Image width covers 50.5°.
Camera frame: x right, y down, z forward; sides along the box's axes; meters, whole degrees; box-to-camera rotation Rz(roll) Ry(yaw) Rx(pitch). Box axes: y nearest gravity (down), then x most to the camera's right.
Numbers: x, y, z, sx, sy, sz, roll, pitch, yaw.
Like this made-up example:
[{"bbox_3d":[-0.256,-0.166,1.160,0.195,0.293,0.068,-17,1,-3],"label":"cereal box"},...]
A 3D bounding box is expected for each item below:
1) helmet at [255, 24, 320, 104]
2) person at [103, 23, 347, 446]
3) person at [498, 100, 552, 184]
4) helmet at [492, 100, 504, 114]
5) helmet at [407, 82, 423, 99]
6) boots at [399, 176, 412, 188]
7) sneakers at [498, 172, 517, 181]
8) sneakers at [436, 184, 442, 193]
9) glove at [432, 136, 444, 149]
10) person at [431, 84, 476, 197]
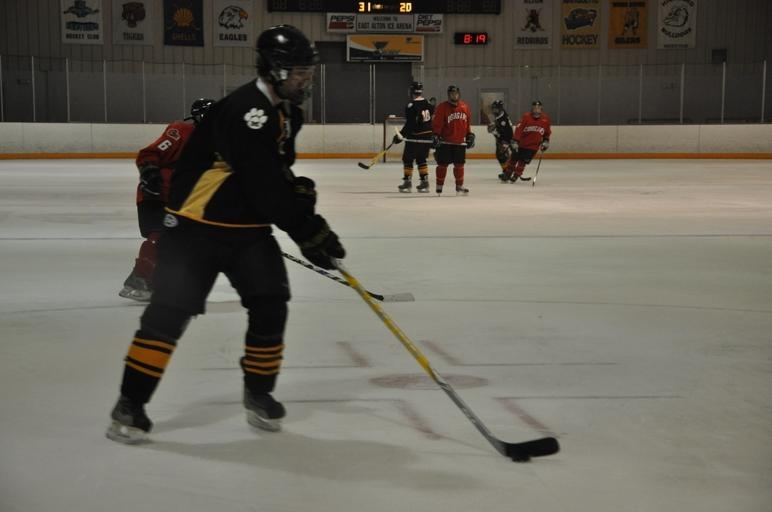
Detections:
[{"bbox_3d":[-0.332,-0.800,3.407,0.360,0.327,0.273,1,11,11],"label":"helmet"},{"bbox_3d":[-0.648,-0.099,3.395,0.987,1.702,0.379,0,12,-12],"label":"person"},{"bbox_3d":[2.531,-2.057,14.815,0.821,1.469,1.271,5,11,10],"label":"person"},{"bbox_3d":[2.010,-2.674,14.679,0.319,0.257,0.228,2,8,-3],"label":"helmet"},{"bbox_3d":[0.477,-2.624,12.961,0.195,0.231,0.492,2,10,0],"label":"helmet"},{"bbox_3d":[0.311,-1.129,12.776,0.150,0.193,0.155,6,12,18],"label":"boots"},{"bbox_3d":[2.162,-1.381,14.535,0.417,0.154,0.222,8,12,29],"label":"sneakers"},{"bbox_3d":[0.812,-1.020,12.476,0.101,0.106,0.124,5,-1,3],"label":"sneakers"},{"bbox_3d":[0.810,-1.710,12.384,0.118,0.184,0.290,7,12,23],"label":"glove"},{"bbox_3d":[1.018,-1.762,12.528,0.632,1.655,1.305,4,11,5],"label":"person"}]
